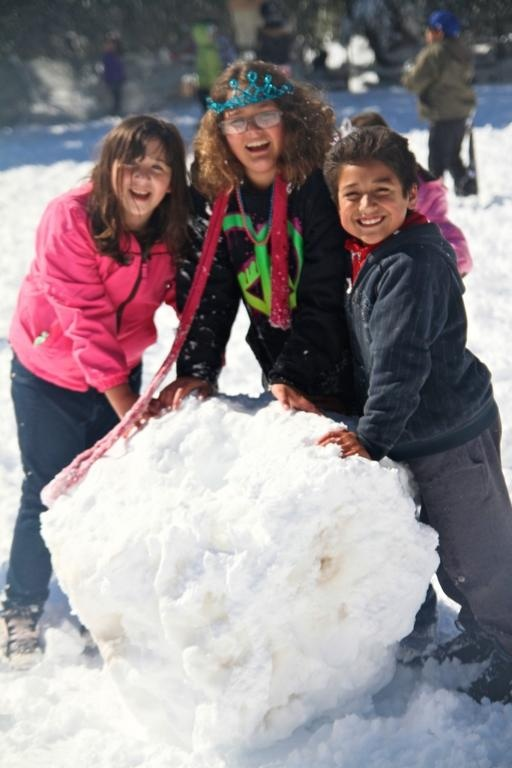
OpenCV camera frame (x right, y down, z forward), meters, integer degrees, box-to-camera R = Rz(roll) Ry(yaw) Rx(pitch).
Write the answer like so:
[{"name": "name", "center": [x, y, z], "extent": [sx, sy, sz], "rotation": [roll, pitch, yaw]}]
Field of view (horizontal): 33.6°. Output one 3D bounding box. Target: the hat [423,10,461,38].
[{"name": "hat", "center": [1.299, -2.515, 5.947], "extent": [0.207, 0.138, 0.238], "rotation": [-11, 23, -10]}]

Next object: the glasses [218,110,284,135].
[{"name": "glasses", "center": [-0.013, -0.777, 2.507], "extent": [0.174, 0.052, 0.049], "rotation": [-6, 27, 4]}]

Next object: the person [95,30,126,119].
[{"name": "person", "center": [-2.270, -4.962, 13.605], "extent": [0.408, 1.123, 2.110], "rotation": [-13, 27, -6]}]
